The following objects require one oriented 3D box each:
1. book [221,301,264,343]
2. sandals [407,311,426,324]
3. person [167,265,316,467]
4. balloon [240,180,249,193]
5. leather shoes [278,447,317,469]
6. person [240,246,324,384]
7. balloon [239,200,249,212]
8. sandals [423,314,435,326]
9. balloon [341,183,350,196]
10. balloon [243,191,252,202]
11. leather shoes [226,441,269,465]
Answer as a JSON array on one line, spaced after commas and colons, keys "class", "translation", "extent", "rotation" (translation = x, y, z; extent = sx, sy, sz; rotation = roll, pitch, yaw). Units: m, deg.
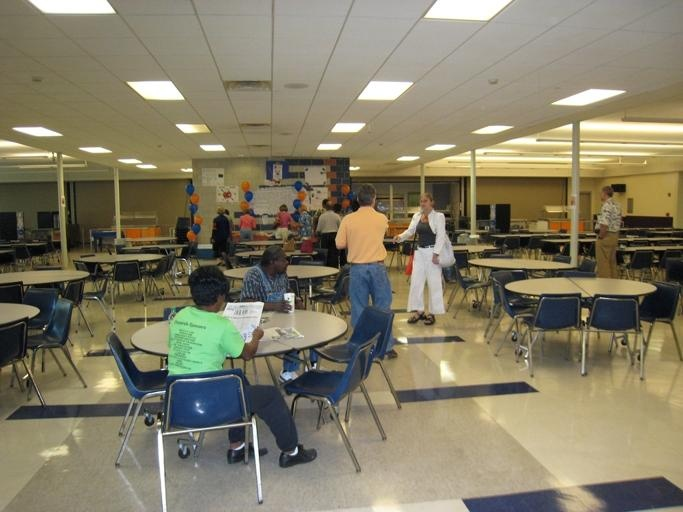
[{"class": "book", "translation": [-0.810, 0.559, 4.508], "extent": [0.275, 0.102, 0.411], "rotation": [0, 41, -2]}, {"class": "sandals", "translation": [1.140, 0.920, 8.168], "extent": [0.282, 0.120, 0.147], "rotation": [0, 2, -12]}, {"class": "person", "translation": [-0.795, 0.933, 4.272], "extent": [1.041, 1.683, 0.525], "rotation": [-6, 15, -18]}, {"class": "balloon", "translation": [-2.639, -1.941, 15.137], "extent": [0.272, 0.274, 0.414], "rotation": [-7, 14, -9]}, {"class": "leather shoes", "translation": [-0.345, 1.683, 4.576], "extent": [0.329, 0.128, 0.127], "rotation": [-2, 1, -27]}, {"class": "person", "translation": [-0.674, 0.583, 5.608], "extent": [0.643, 1.306, 0.696], "rotation": [-6, -9, 28]}, {"class": "balloon", "translation": [-2.639, -1.370, 14.989], "extent": [0.280, 0.400, 0.277], "rotation": [-1, 14, -8]}, {"class": "sandals", "translation": [1.301, 0.950, 8.033], "extent": [0.167, 0.174, 0.439], "rotation": [-1, -3, 13]}, {"class": "balloon", "translation": [0.171, -1.939, 15.844], "extent": [0.283, 0.416, 0.289], "rotation": [-9, -38, 11]}, {"class": "balloon", "translation": [-2.541, -1.670, 15.139], "extent": [0.274, 0.392, 0.277], "rotation": [2, 7, 11]}, {"class": "leather shoes", "translation": [-0.768, 1.646, 4.622], "extent": [0.421, 0.179, 0.141], "rotation": [-2, -1, -28]}]
